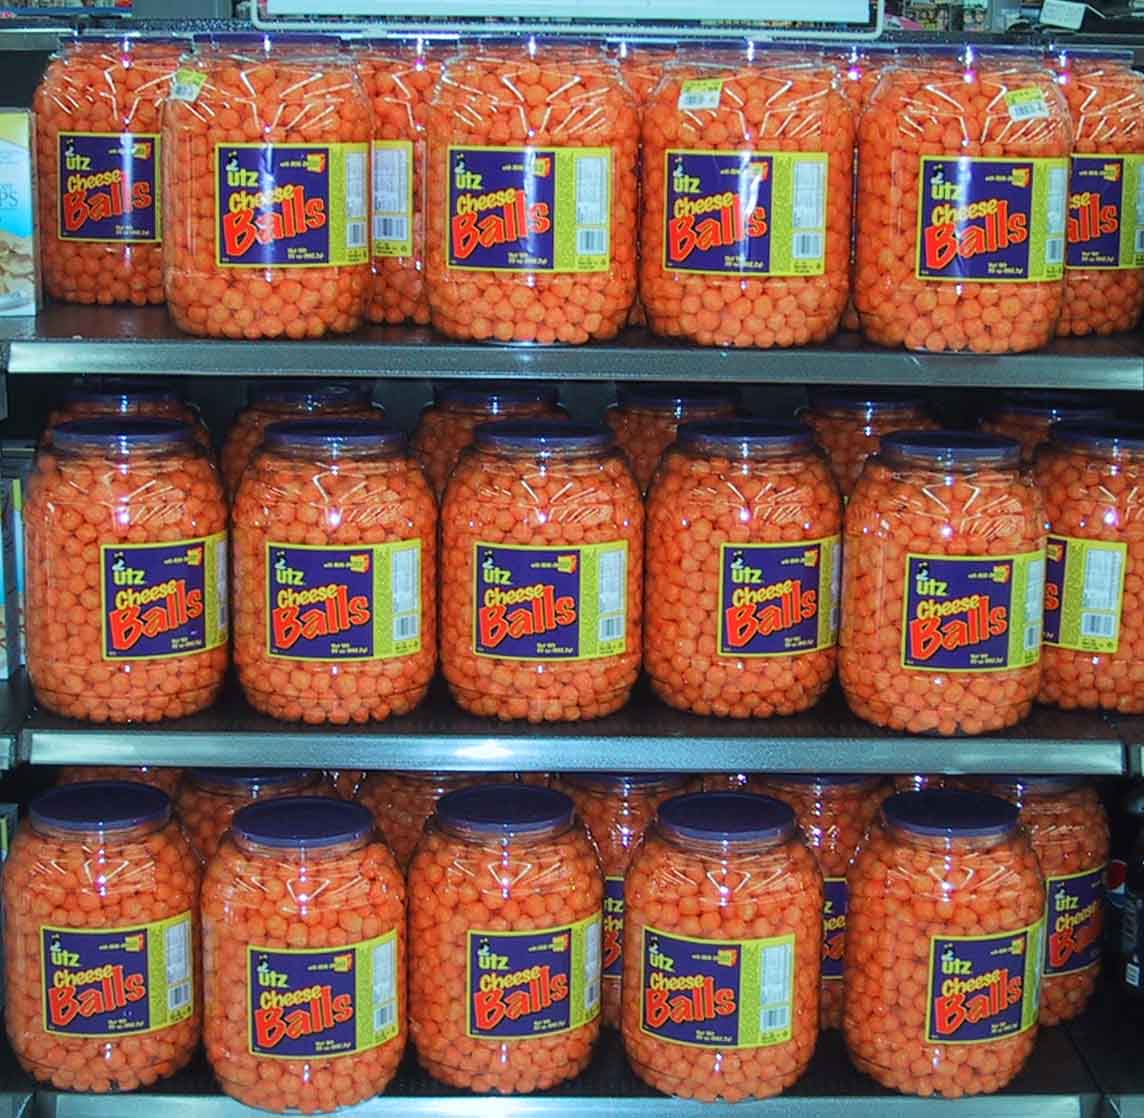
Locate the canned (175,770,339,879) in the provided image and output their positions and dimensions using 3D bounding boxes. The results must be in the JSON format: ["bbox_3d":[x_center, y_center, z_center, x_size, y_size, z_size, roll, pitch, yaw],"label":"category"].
[{"bbox_3d":[-0.488,0.387,1.878,0.165,0.139,0.166,4,3,43],"label":"canned"}]

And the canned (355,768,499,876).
[{"bbox_3d":[-0.232,0.408,1.974,0.168,0.139,0.159,3,4,20],"label":"canned"}]

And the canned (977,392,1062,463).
[{"bbox_3d":[0.742,-0.218,2.019,0.147,0.081,0.135,1,5,-2],"label":"canned"}]

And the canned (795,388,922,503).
[{"bbox_3d":[0.462,-0.199,2.065,0.192,0.158,0.188,-6,8,-44],"label":"canned"}]

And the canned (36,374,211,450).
[{"bbox_3d":[-0.714,-0.212,1.975,0.208,0.159,0.191,1,0,-12],"label":"canned"}]
